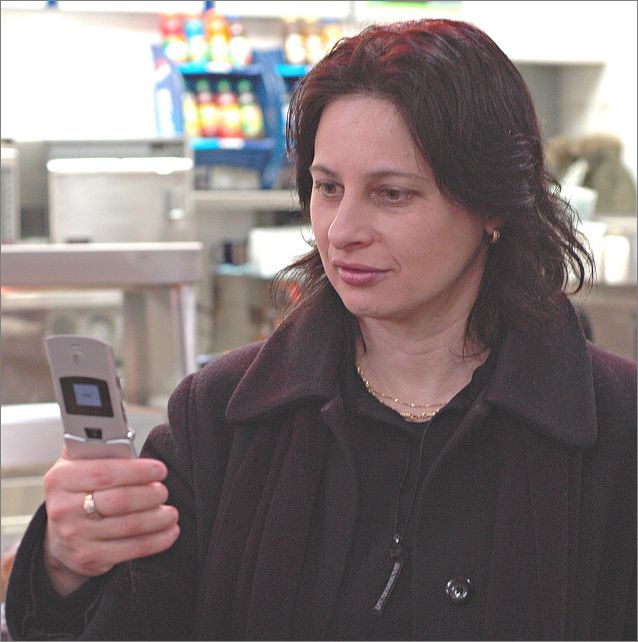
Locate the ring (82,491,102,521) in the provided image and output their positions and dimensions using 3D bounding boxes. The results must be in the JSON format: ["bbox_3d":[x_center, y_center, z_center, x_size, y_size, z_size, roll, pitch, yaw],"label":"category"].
[{"bbox_3d":[-0.361,0.301,2.226,0.028,0.033,0.034,13,-15,1],"label":"ring"}]

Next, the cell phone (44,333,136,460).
[{"bbox_3d":[-0.364,0.124,2.209,0.123,0.220,0.053,1,15,15],"label":"cell phone"}]
